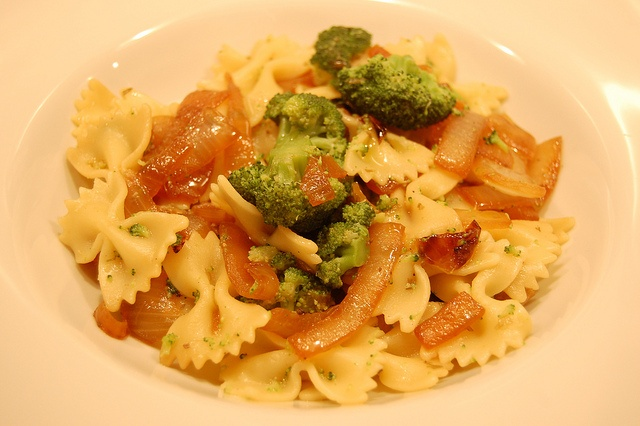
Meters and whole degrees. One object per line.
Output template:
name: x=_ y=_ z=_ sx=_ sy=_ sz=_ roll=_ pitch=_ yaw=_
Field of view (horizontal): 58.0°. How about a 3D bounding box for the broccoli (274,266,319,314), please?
broccoli: x=-0.209 y=0.610 z=4.622 sx=0.285 sy=0.135 sz=0.347 roll=23 pitch=80 yaw=-11
